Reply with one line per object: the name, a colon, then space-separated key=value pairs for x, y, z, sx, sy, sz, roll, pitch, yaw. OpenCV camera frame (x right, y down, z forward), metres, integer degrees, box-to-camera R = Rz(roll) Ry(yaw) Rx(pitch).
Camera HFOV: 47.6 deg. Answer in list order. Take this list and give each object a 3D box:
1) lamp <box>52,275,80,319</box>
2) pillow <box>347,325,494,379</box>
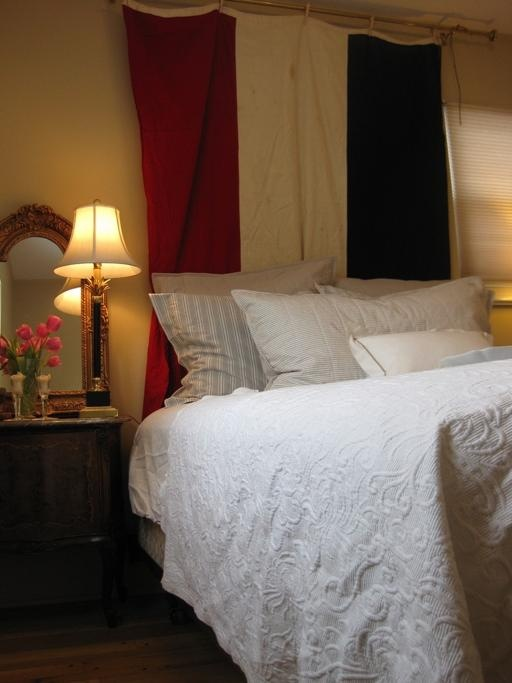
lamp: x=-0.740 y=-0.172 z=2.300 sx=0.125 sy=0.140 sz=0.131 roll=3 pitch=-21 yaw=-4
pillow: x=0.418 y=0.026 z=1.539 sx=0.375 sy=0.130 sz=0.090 roll=-10 pitch=2 yaw=-26
